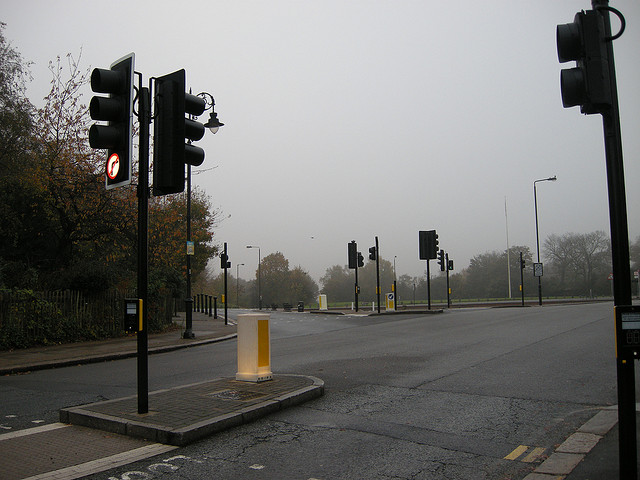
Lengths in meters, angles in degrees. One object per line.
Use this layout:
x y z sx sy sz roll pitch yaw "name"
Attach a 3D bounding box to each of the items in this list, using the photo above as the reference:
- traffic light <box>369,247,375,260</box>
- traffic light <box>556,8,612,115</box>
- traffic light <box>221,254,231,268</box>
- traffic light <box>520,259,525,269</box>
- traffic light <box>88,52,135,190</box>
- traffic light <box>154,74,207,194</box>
3.425 0.825 41.353 0.338 0.675 0.982 -1 -1 4 "traffic light"
3.437 -2.351 8.192 0.658 1.060 0.461 -1 0 -24 "traffic light"
-5.112 1.112 33.717 0.437 0.698 1.602 -1 -1 -9 "traffic light"
16.998 2.018 52.547 0.216 0.575 1.343 -1 -1 12 "traffic light"
-3.368 -1.950 10.162 0.720 2.294 0.650 -1 0 -5 "traffic light"
-2.331 -1.728 10.333 0.808 1.960 0.657 -1 0 -18 "traffic light"
